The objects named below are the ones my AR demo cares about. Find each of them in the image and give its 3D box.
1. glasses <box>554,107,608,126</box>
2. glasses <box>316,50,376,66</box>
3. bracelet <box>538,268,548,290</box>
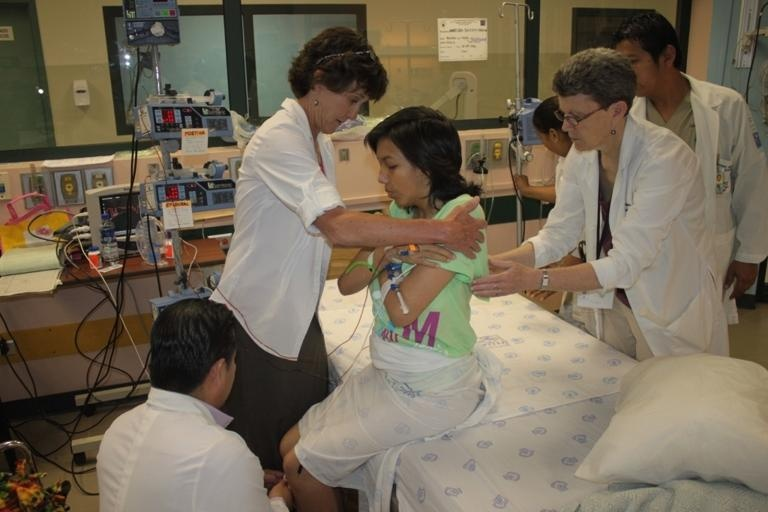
[{"bbox_3d":[0.853,-0.628,2.582,0.095,0.069,0.229,-14,17,-35],"label":"glasses"},{"bbox_3d":[-0.149,-0.830,2.381,0.249,0.051,0.067,-7,14,-11],"label":"glasses"},{"bbox_3d":[0.701,0.103,2.521,0.044,0.077,0.075,1,47,13],"label":"bracelet"}]
